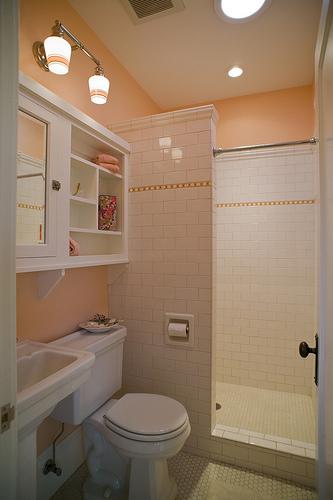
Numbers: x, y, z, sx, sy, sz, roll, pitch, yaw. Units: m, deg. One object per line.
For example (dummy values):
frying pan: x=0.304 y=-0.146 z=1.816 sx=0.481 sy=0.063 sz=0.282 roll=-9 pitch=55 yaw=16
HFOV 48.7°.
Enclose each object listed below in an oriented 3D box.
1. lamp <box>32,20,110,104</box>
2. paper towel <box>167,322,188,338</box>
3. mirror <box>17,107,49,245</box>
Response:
lamp: x=-0.434 y=-0.812 z=1.621 sx=0.223 sy=0.250 sz=0.350 roll=-5 pitch=-13 yaw=23
paper towel: x=0.057 y=0.437 z=2.016 sx=0.101 sy=0.080 sz=0.081 roll=7 pitch=43 yaw=12
mirror: x=-0.510 y=-0.334 z=1.363 sx=0.017 sy=0.362 sz=0.192 roll=1 pitch=-4 yaw=24
